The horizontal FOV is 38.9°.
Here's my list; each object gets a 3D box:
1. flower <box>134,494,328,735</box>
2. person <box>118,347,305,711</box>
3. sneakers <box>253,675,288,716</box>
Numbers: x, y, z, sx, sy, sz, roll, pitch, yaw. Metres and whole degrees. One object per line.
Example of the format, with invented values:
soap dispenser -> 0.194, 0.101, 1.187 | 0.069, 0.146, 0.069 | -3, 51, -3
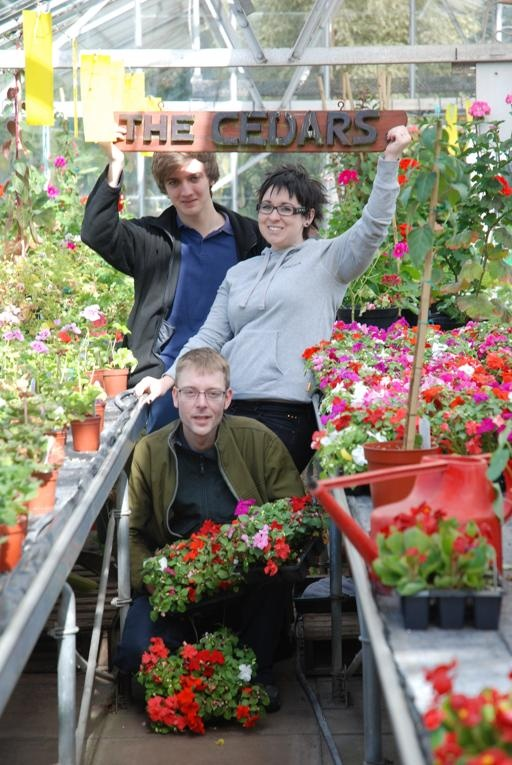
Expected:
flower -> -0.114, 0.778, 2.556 | 0.764, 0.722, 0.254 | -10, -9, 11
person -> -0.191, 0.521, 2.756 | 0.784, 1.220, 0.741 | -7, 17, -24
sneakers -> 0.053, 1.110, 2.582 | 0.066, 0.077, 0.188 | -10, -5, -7
